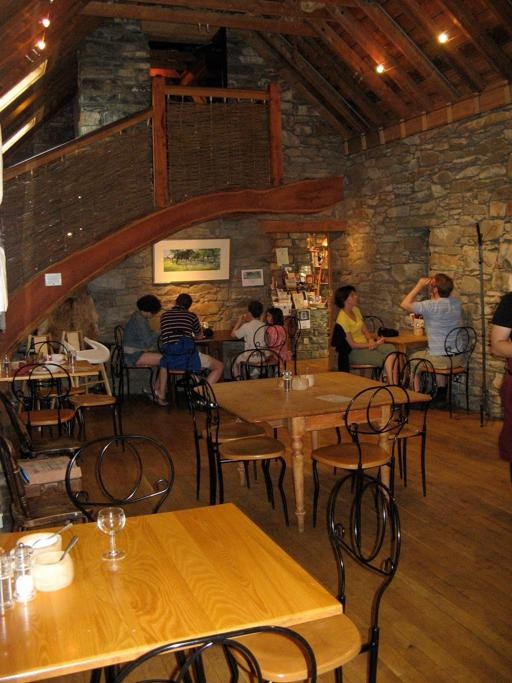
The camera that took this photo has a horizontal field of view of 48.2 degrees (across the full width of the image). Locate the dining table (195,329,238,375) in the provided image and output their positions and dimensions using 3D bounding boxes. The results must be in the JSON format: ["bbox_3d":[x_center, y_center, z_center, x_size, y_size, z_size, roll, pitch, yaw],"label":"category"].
[{"bbox_3d":[-0.504,0.179,8.396,0.741,0.625,0.696,-4,11,-18],"label":"dining table"}]

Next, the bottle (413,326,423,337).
[{"bbox_3d":[2.008,-0.119,7.101,0.116,0.096,0.110,-2,3,12],"label":"bottle"}]

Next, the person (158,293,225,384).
[{"bbox_3d":[-0.836,-0.021,6.979,0.524,1.091,0.704,5,7,27],"label":"person"}]

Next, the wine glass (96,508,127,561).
[{"bbox_3d":[-0.413,0.553,1.636,0.091,0.139,0.087,-8,14,-42],"label":"wine glass"}]

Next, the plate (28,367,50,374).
[{"bbox_3d":[-1.913,0.261,5.072,0.186,0.040,0.167,2,8,-5],"label":"plate"}]

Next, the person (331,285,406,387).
[{"bbox_3d":[1.326,-0.012,6.633,0.913,1.260,0.558,4,26,26],"label":"person"}]

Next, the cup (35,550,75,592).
[{"bbox_3d":[-0.488,0.553,1.393,0.086,0.055,0.081,0,0,0],"label":"cup"}]

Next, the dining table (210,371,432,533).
[{"bbox_3d":[0.242,0.473,3.683,1.135,0.621,1.081,-6,9,-27],"label":"dining table"}]

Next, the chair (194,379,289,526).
[{"bbox_3d":[-0.085,0.715,3.674,0.656,1.014,0.655,-5,16,-17],"label":"chair"}]

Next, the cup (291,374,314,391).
[{"bbox_3d":[0.322,0.284,3.935,0.111,0.057,0.168,-1,0,1],"label":"cup"}]
